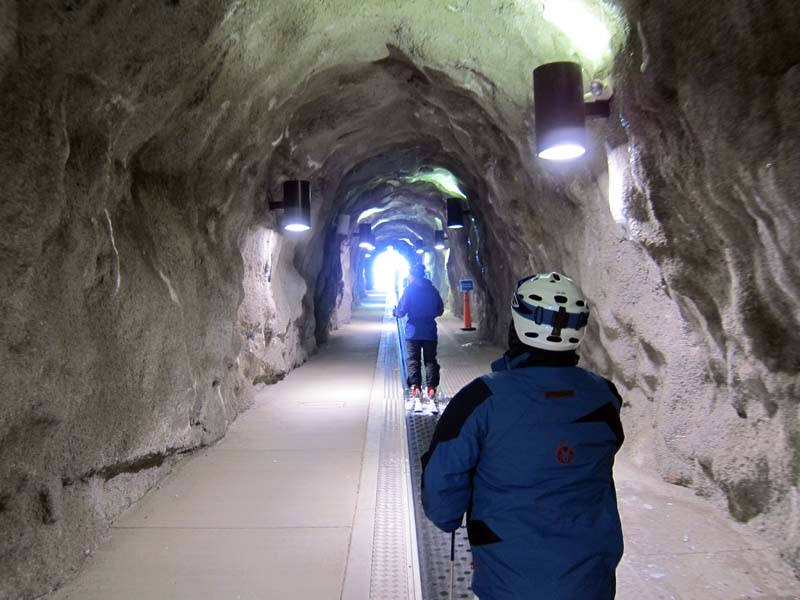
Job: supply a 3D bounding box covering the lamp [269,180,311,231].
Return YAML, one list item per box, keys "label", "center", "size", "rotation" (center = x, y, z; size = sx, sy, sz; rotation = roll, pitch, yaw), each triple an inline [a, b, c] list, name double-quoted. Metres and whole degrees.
- label: "lamp"
  center: [-1.569, -1.215, 8.363]
  size: [0.711, 0.800, 0.432]
  rotation: [-1, 3, -5]

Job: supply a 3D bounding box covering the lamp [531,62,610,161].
- label: "lamp"
  center: [1.393, -1.490, 4.984]
  size: [0.641, 0.687, 0.365]
  rotation: [-8, 10, -17]

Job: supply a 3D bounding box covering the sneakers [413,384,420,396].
- label: "sneakers"
  center: [0.211, 1.119, 7.728]
  size: [0.090, 0.043, 0.135]
  rotation: [2, 19, 4]

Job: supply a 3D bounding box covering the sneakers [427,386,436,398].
- label: "sneakers"
  center: [0.384, 1.125, 7.702]
  size: [0.093, 0.188, 0.132]
  rotation: [-3, -3, -11]

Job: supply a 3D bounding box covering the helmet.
- label: "helmet"
  center: [0.726, 0.040, 3.111]
  size: [0.307, 0.365, 0.413]
  rotation: [8, 10, -8]
